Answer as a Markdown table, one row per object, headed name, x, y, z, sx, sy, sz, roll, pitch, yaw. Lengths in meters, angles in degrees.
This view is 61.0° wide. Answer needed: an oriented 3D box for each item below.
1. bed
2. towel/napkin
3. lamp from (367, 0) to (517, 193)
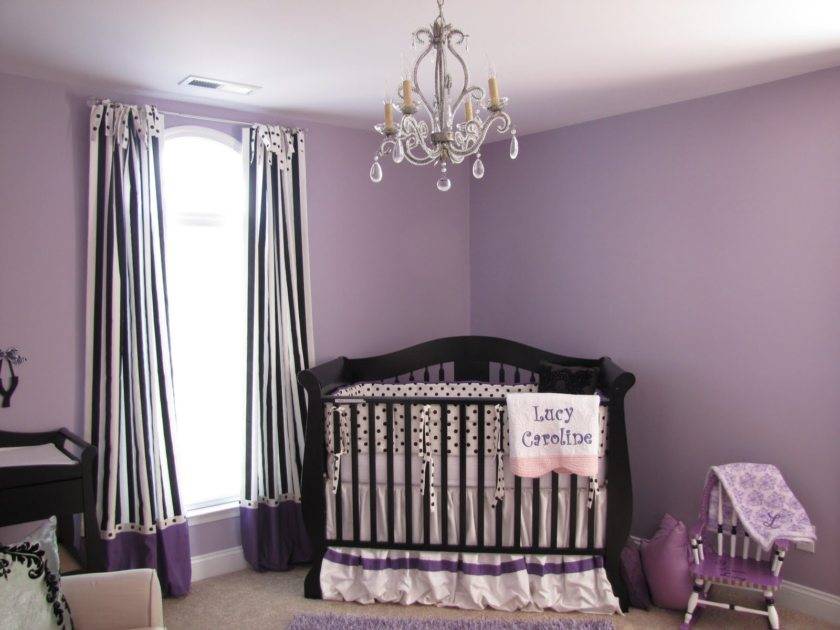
| name | x | y | z | sx | sy | sz | roll | pitch | yaw |
| --- | --- | --- | --- | --- | --- | --- | --- | --- | --- |
| bed | 0.386 | 1.013 | 4.548 | 2.016 | 1.897 | 1.271 | 0 | 0 | 9 |
| towel/napkin | 1.803 | 1.032 | 3.839 | 0.475 | 0.544 | 0.206 | -14 | -30 | 19 |
| lamp | 0.093 | -1.138 | 3.624 | 0.600 | 1.104 | 0.697 | 3 | -9 | -18 |
